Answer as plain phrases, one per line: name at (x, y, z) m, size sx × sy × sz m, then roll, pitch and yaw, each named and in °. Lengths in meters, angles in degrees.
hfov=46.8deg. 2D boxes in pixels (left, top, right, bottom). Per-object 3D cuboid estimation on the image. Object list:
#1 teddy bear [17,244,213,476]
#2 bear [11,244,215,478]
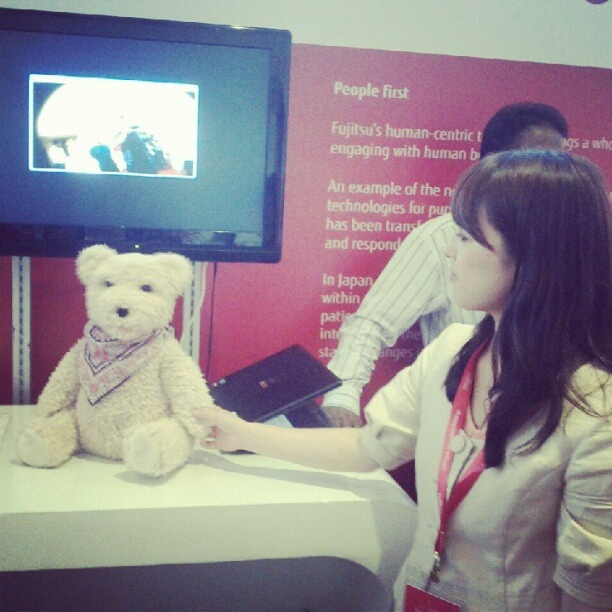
teddy bear at (-0.303, 0.085, 1.148) m, size 0.265 × 0.357 × 0.213 m, roll 4°, pitch 4°, yaw 3°
bear at (-0.277, 0.116, 1.262) m, size 0.400 × 0.516 × 0.309 m, roll 3°, pitch 3°, yaw -1°
